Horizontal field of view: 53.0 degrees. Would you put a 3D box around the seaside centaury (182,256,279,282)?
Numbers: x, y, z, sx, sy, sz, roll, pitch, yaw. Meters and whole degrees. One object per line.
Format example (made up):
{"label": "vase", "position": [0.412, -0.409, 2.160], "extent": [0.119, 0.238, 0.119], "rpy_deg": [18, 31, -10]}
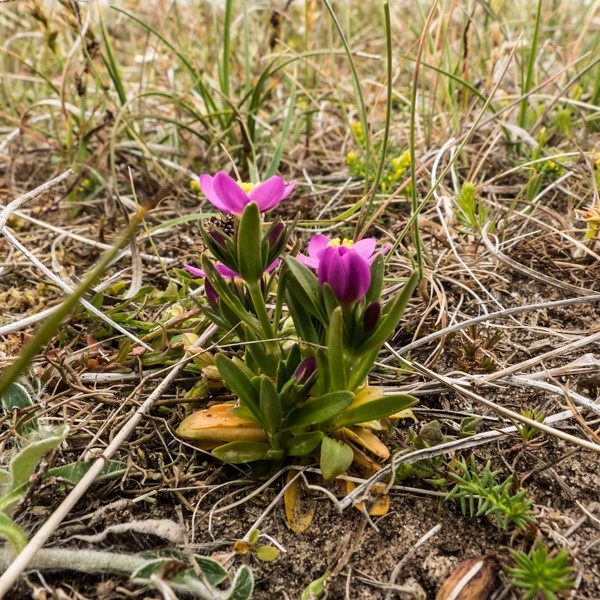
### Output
{"label": "seaside centaury", "position": [-0.183, -0.065, 1.420], "extent": [0.113, 0.038, 0.101], "rpy_deg": [-1, -9, -29]}

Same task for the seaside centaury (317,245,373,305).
{"label": "seaside centaury", "position": [0.093, -0.055, 1.211], "extent": [0.115, 0.117, 0.113], "rpy_deg": [0, 7, -15]}

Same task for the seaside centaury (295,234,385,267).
{"label": "seaside centaury", "position": [0.097, -0.126, 1.373], "extent": [0.146, 0.052, 0.117], "rpy_deg": [-5, 9, -15]}
